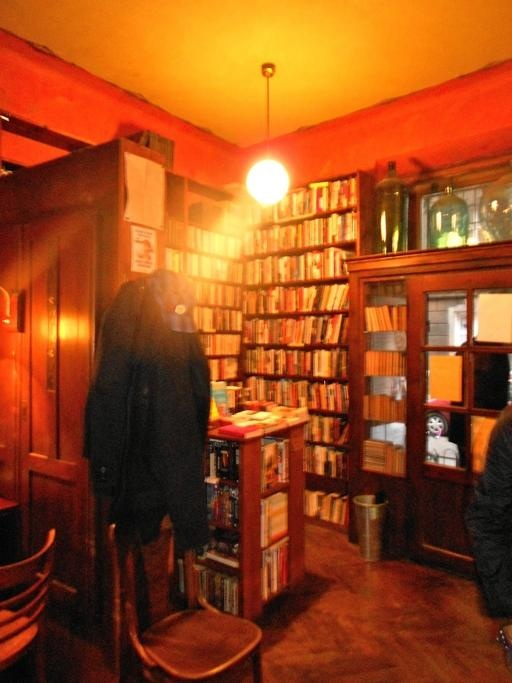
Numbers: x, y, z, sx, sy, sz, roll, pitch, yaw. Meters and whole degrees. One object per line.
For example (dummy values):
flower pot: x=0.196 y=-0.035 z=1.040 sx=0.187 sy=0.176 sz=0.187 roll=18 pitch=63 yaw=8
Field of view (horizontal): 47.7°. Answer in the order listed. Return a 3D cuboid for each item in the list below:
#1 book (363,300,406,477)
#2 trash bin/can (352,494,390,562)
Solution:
book: x=0.853 y=0.308 z=3.851 sx=0.138 sy=1.115 sz=0.407 roll=-1 pitch=3 yaw=-27
trash bin/can: x=0.732 y=1.224 z=3.830 sx=0.313 sy=0.473 sz=0.333 roll=-1 pitch=-5 yaw=5
